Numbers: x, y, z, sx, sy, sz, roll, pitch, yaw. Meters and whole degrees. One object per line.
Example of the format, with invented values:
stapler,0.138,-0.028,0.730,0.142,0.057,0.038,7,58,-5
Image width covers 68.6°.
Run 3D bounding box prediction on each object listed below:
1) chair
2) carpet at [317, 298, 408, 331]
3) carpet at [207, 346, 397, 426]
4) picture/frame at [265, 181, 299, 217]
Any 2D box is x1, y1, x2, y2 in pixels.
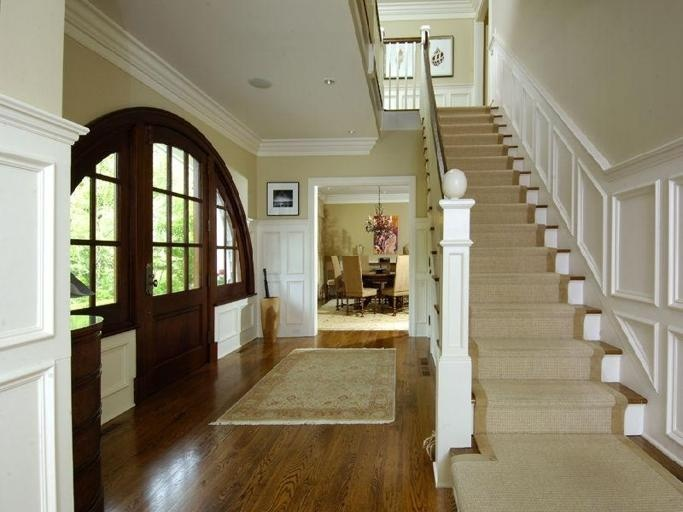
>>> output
chair,0.571,0.567,9.093,1.072,0.885,1.163,-1,0,21
carpet,0.387,1.063,8.181,1.513,0.244,1.957,0,8,-2
carpet,-0.183,1.243,4.916,1.456,0.127,2.159,1,8,7
picture/frame,-0.811,-0.776,6.973,0.454,0.548,0.024,0,-24,-8
